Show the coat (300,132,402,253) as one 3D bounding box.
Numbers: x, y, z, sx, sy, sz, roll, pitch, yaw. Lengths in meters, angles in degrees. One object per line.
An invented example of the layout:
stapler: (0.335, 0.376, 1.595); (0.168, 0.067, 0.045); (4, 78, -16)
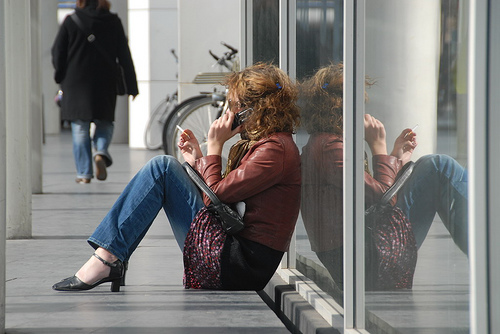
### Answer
coat: (0.466, 0.092, 4.003); (0.420, 0.661, 0.495); (-2, 3, 18)

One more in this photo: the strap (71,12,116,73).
strap: (-1.389, -1.103, 7.777); (0.071, 0.591, 0.078); (-32, 25, -6)

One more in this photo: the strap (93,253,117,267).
strap: (-0.677, 0.438, 4.124); (0.073, 0.020, 0.057); (39, -4, -9)

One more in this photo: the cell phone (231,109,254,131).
cell phone: (-0.030, -0.218, 4.174); (0.104, 0.027, 0.062); (-35, -11, 39)

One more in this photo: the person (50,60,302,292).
person: (-0.309, 0.062, 4.301); (1.142, 1.279, 0.557); (7, -18, -13)

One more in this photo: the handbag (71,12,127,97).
handbag: (-1.292, -1.002, 7.891); (0.174, 0.736, 0.520); (-22, 12, -7)

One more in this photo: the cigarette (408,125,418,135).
cigarette: (0.626, -0.144, 3.400); (0.011, 0.040, 0.006); (30, 7, -34)

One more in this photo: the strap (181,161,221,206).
strap: (-0.225, 0.077, 4.163); (0.037, 0.197, 0.071); (-35, -11, 0)

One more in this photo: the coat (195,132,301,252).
coat: (-0.014, 0.127, 4.204); (0.501, 0.602, 0.476); (10, -10, -37)

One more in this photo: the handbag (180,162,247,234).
handbag: (-0.178, 0.141, 4.137); (0.364, 0.310, 0.111); (5, 10, 42)
